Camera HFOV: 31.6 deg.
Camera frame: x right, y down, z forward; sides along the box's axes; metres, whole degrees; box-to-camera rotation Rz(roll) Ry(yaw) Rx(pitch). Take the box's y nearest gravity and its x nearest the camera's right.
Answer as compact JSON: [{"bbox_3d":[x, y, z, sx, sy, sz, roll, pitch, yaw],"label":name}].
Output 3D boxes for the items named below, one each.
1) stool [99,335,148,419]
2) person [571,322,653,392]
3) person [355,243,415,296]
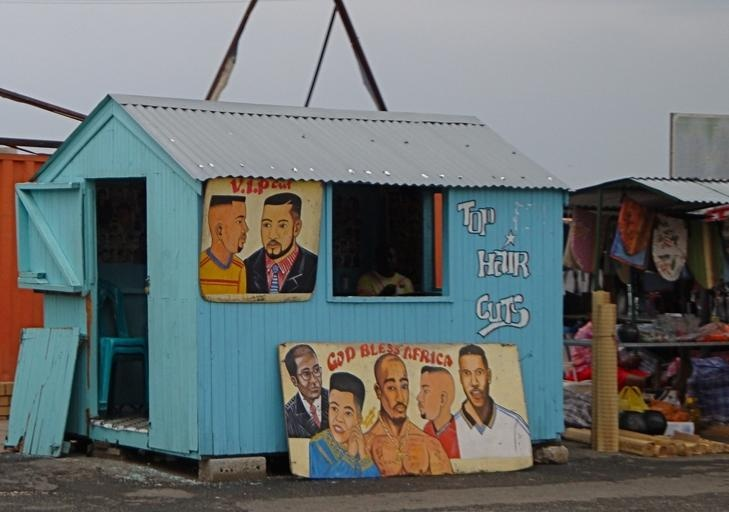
[{"bbox_3d":[-2.999,1.518,17.061,0.744,1.081,0.787,1,-8,-10],"label":"stool"},{"bbox_3d":[3.818,1.582,20.348,1.260,1.419,0.820,-6,-2,24],"label":"person"},{"bbox_3d":[0.332,0.237,18.157,0.891,0.856,0.509,2,-7,-25],"label":"person"}]
